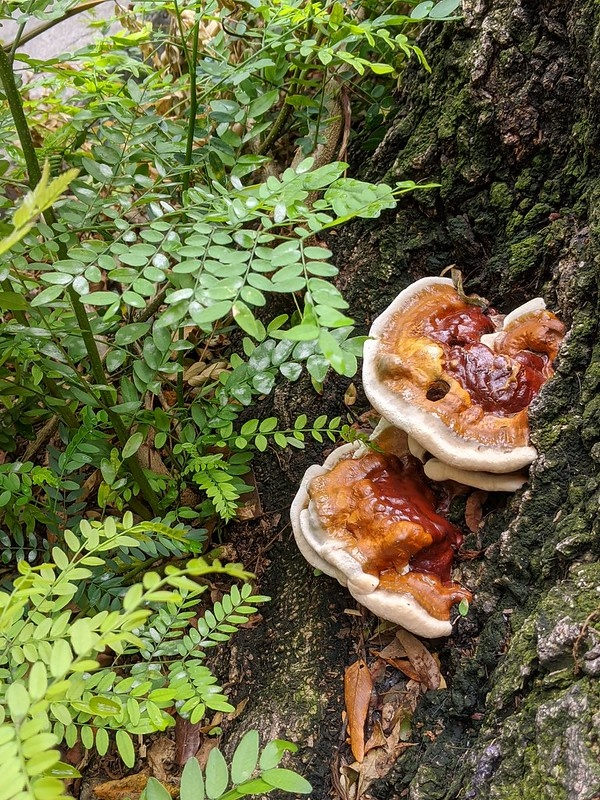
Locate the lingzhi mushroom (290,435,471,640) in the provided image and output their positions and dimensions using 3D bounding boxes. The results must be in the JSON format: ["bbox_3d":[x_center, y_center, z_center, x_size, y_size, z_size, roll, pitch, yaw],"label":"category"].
[{"bbox_3d":[0.245,0.469,2.400,0.570,0.209,0.581,-16,53,-12],"label":"lingzhi mushroom"}]
